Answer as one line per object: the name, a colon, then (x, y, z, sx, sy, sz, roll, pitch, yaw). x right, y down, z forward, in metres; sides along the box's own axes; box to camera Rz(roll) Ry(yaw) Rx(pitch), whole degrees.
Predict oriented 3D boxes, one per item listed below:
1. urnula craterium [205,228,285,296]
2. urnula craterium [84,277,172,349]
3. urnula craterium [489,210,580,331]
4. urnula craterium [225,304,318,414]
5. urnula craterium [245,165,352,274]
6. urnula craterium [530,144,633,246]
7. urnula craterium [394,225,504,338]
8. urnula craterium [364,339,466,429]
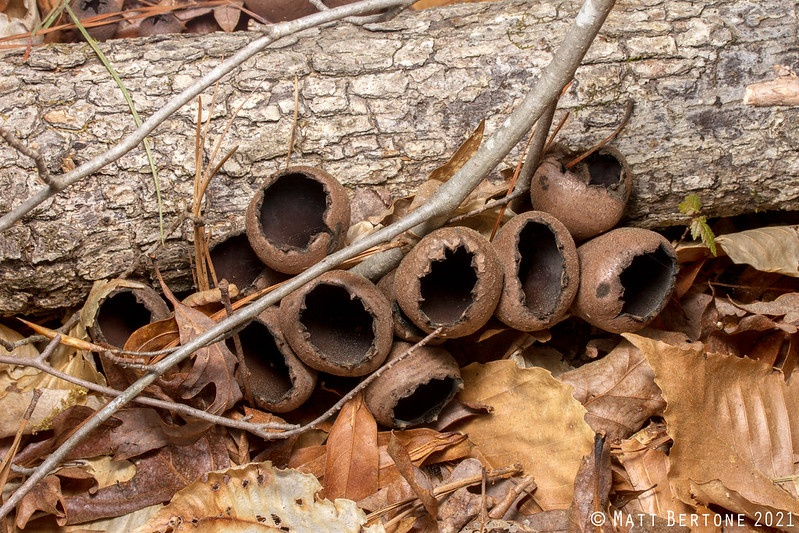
urnula craterium: (-0.686, -0.008, 3.455, 0.288, 0.291, 0.130, -19, -5, -5)
urnula craterium: (-1.111, 0.196, 3.201, 0.335, 0.274, 0.290, -8, 21, -21)
urnula craterium: (0.512, 0.028, 3.272, 0.415, 0.463, 0.291, -8, -8, -8)
urnula craterium: (-0.497, 0.422, 3.291, 0.393, 0.444, 0.218, -29, -10, -5)
urnula craterium: (-0.415, -0.186, 3.369, 0.429, 0.455, 0.289, 23, -15, -1)
urnula craterium: (0.746, -0.321, 3.283, 0.451, 0.320, 0.374, -31, 49, -34)
urnula craterium: (0.186, 0.069, 3.115, 0.428, 0.441, 0.291, -1, 20, -2)
urnula craterium: (0.068, 0.488, 3.212, 0.396, 0.235, 0.352, -37, -32, 20)
